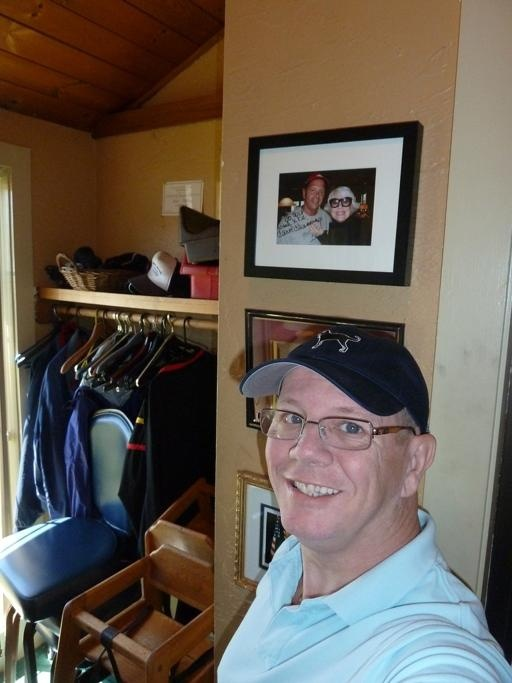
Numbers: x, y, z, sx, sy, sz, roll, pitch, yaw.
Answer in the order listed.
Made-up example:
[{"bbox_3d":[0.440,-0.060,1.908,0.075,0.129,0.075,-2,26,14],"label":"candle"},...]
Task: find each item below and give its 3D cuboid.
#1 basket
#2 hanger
[{"bbox_3d":[-0.565,-0.234,2.108,0.222,0.101,0.267,3,3,42],"label":"basket"},{"bbox_3d":[-0.548,0.020,2.102,0.523,0.189,0.376,8,15,35],"label":"hanger"}]
